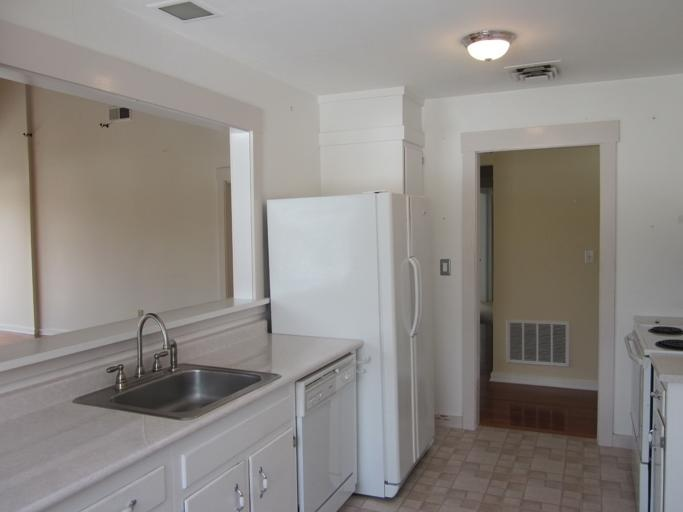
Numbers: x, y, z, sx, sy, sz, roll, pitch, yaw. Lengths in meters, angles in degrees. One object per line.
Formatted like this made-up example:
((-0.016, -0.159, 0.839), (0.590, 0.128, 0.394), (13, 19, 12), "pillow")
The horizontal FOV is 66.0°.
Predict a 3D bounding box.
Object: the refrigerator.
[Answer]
((0.131, 0.482, 3.741), (1.104, 1.935, 0.873), (12, 14, 27), "refrigerator")

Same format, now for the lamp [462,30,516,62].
((0.860, -1.227, 3.065), (0.324, 0.146, 0.215), (6, 12, 0), "lamp")

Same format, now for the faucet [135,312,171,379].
((-0.969, 0.417, 2.700), (0.163, 0.368, 0.375), (1, 13, -18), "faucet")
